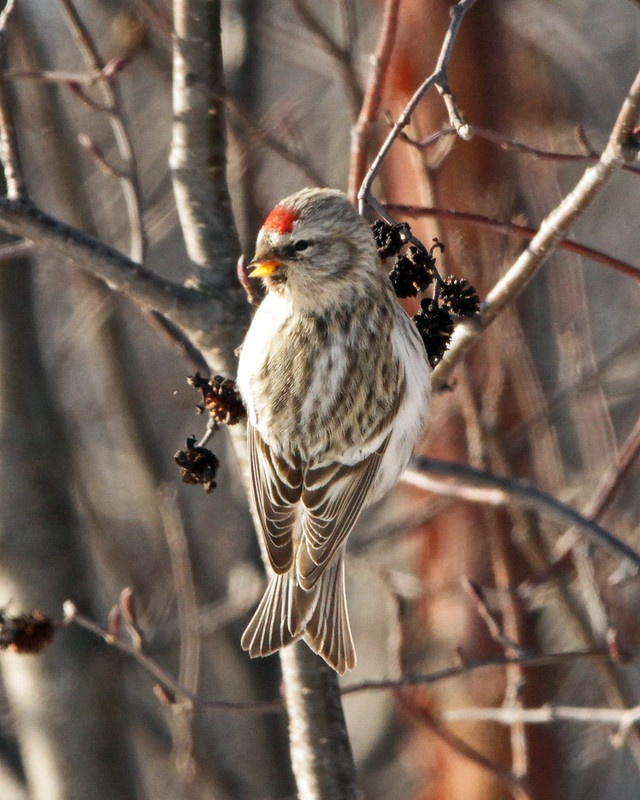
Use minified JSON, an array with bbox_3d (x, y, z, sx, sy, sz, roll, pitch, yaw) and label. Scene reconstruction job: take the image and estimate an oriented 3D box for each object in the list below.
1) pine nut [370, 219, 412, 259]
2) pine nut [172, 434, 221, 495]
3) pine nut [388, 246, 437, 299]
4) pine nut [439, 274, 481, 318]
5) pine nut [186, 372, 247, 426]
[{"bbox_3d":[0.204,-0.494,4.096,0.112,0.028,0.114,26,-79,6],"label":"pine nut"},{"bbox_3d":[-0.340,0.171,3.884,0.158,0.053,0.143,-28,-87,36],"label":"pine nut"},{"bbox_3d":[0.293,-0.421,4.099,0.164,0.199,0.068,-18,-101,-6],"label":"pine nut"},{"bbox_3d":[0.426,-0.303,4.068,0.122,0.121,0.067,40,-58,-11],"label":"pine nut"},{"bbox_3d":[-0.298,0.002,3.953,0.151,0.161,0.056,40,-48,-18],"label":"pine nut"}]
